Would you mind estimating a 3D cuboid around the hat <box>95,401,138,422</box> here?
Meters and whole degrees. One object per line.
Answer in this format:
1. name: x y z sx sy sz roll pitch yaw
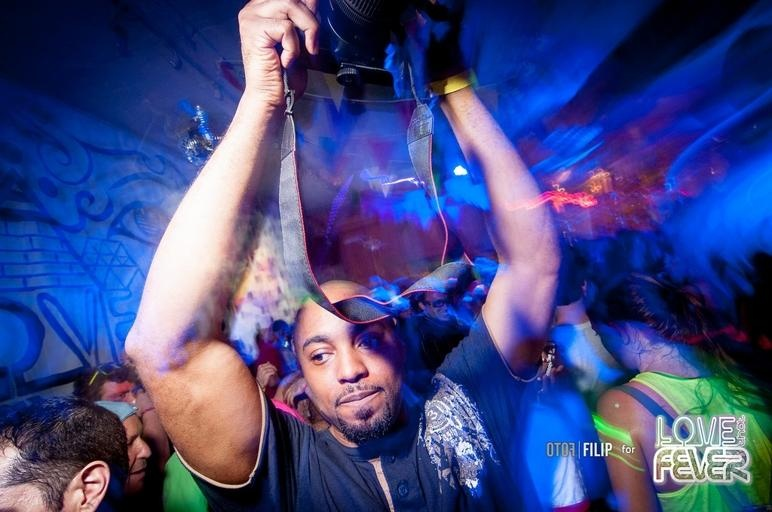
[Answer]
1. hat: -1.987 1.127 3.709 0.210 0.104 0.169 21 -9 9
